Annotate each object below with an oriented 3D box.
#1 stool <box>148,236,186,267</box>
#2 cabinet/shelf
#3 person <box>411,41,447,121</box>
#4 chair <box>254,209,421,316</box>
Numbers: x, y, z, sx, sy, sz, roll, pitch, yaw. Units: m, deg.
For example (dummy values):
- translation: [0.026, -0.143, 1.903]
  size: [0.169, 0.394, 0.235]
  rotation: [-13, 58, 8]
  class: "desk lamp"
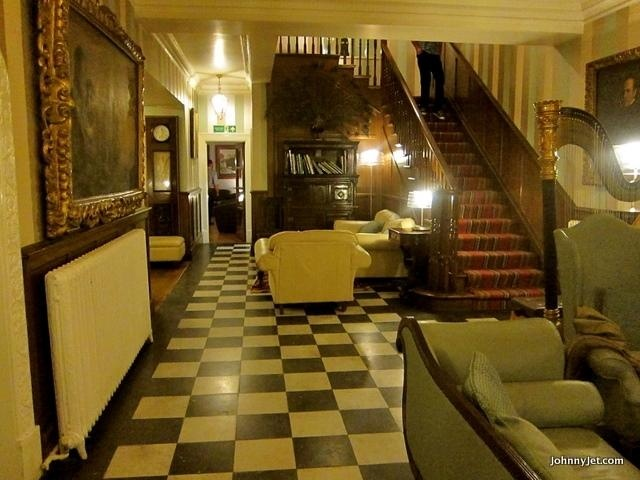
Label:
- translation: [-2.711, 0.192, 9.204]
  size: [0.574, 0.482, 0.646]
  rotation: [-3, 11, -18]
  class: "stool"
- translation: [-0.112, -1.121, 10.386]
  size: [1.642, 2.331, 0.840]
  rotation: [0, 3, -3]
  class: "cabinet/shelf"
- translation: [2.114, -3.117, 10.047]
  size: [0.577, 1.509, 1.579]
  rotation: [2, 10, 13]
  class: "person"
- translation: [0.003, 0.292, 6.992]
  size: [1.615, 0.786, 1.381]
  rotation: [-3, 12, -5]
  class: "chair"
